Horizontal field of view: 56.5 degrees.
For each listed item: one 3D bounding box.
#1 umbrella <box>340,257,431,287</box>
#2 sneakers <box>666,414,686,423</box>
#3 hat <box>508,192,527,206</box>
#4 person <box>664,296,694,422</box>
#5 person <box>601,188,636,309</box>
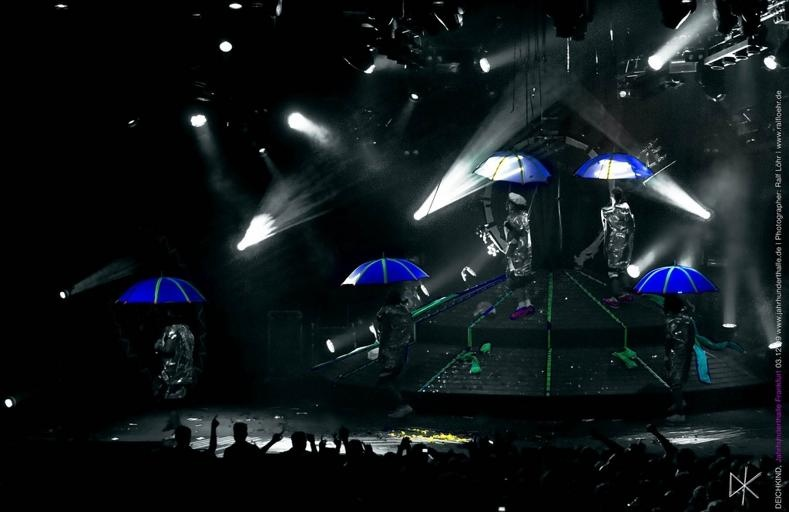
[{"bbox_3d":[-0.295,0.436,18.160,1.781,0.870,1.329,-7,13,-23],"label":"umbrella"},{"bbox_3d":[6.172,3.540,16.135,0.466,0.181,0.164,-4,-1,1],"label":"sneakers"},{"bbox_3d":[3.171,-1.481,19.026,0.414,0.328,0.312,-3,12,-2],"label":"hat"},{"bbox_3d":[6.304,2.207,16.282,0.637,2.619,1.087,2,13,22],"label":"person"},{"bbox_3d":[5.832,-0.334,19.198,0.789,2.913,1.272,1,13,16],"label":"person"}]
